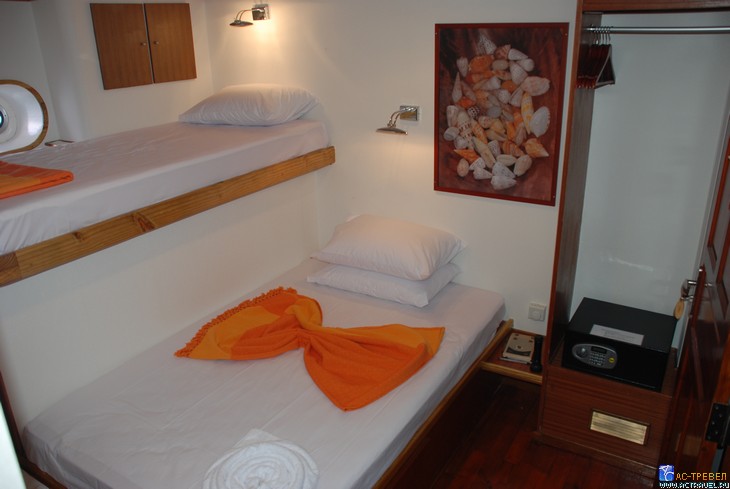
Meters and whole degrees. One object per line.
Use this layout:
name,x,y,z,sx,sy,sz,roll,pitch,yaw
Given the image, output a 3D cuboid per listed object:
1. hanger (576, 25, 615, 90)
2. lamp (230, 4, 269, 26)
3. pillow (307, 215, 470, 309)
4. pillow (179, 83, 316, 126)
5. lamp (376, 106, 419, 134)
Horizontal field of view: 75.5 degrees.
hanger,1.181,-0.968,2.440,0.127,0.296,0.326,11,36,26
lamp,-0.869,-1.789,3.676,0.308,0.116,0.232,-16,25,-34
pillow,0.235,-0.036,3.480,0.857,0.406,0.655,11,25,24
pillow,-0.911,-1.095,3.704,0.961,0.297,0.362,7,22,14
lamp,0.218,-0.886,3.404,0.300,0.213,0.281,8,22,17
